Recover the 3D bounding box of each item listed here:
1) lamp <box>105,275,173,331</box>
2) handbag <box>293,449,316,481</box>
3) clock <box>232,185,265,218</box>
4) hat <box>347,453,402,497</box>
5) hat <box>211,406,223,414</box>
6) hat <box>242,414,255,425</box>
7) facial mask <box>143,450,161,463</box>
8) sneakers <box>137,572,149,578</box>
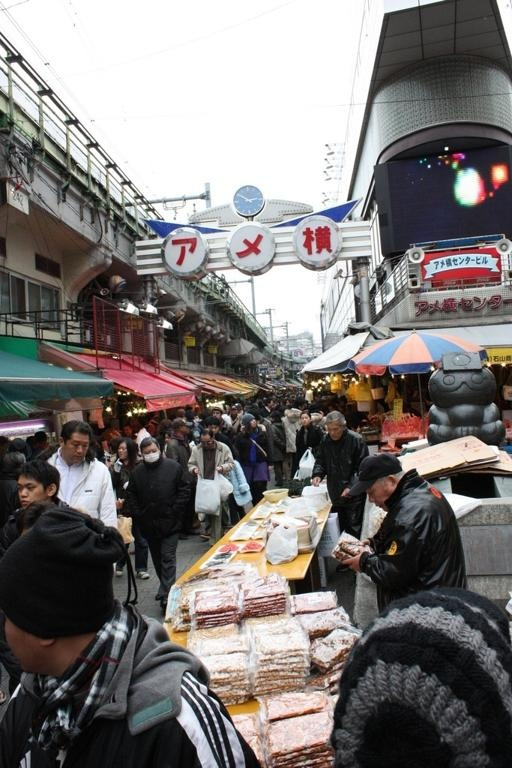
[{"bbox_3d":[-3.206,-2.168,14.897,1.432,0.748,1.937,14,-11,12],"label":"lamp"},{"bbox_3d":[0.629,1.054,7.346,0.254,0.454,0.448,2,-17,14],"label":"handbag"},{"bbox_3d":[-0.210,-5.057,15.686,0.869,0.697,0.439,-3,-1,-3],"label":"clock"},{"bbox_3d":[0.610,0.490,3.047,0.294,0.158,0.185,-27,7,8],"label":"hat"},{"bbox_3d":[-0.745,0.498,10.974,0.178,0.167,0.219,4,-11,6],"label":"hat"},{"bbox_3d":[-0.119,0.592,9.137,0.172,0.147,0.163,-13,23,33],"label":"hat"},{"bbox_3d":[-1.043,0.730,5.704,0.165,0.094,0.194,-3,-2,-14],"label":"facial mask"},{"bbox_3d":[-1.303,2.220,6.579,0.060,0.066,0.146,3,0,-34],"label":"sneakers"}]
